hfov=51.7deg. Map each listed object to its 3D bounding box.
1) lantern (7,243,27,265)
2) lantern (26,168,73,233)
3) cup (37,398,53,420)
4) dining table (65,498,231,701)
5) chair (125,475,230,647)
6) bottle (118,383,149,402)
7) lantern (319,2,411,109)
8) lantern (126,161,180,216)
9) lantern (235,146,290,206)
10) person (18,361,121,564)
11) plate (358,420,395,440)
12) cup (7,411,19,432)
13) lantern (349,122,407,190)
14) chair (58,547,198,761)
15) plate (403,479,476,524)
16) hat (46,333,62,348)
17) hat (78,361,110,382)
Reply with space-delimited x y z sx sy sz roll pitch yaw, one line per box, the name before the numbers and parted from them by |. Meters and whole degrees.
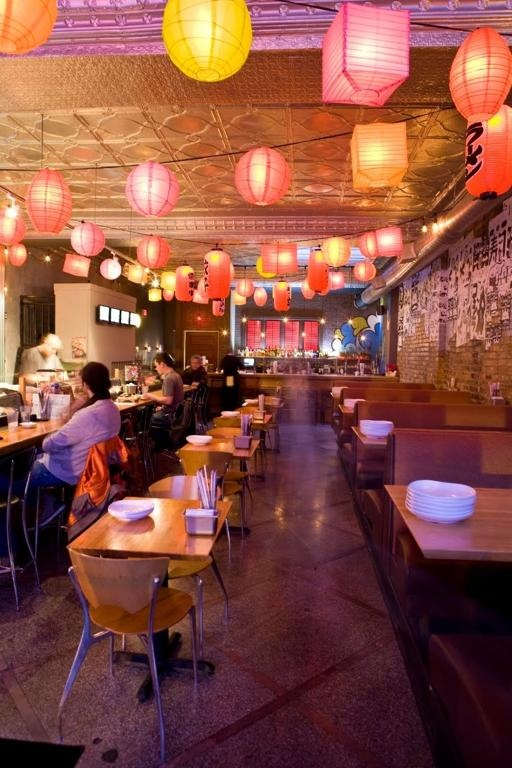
lantern | -3.352 -1.832 7.442 0.200 0.282 0.373 -1 3 -20
lantern | -1.734 -1.531 4.485 0.294 0.501 0.307 8 -4 -35
cup | -1.869 0.222 4.683 0.148 0.265 0.144 0 2 0
dining table | -0.388 0.909 2.309 0.710 0.813 0.767 1 6 9
chair | -0.304 0.906 2.745 0.543 1.068 0.696 -1 -2 7
bottle | -1.673 0.134 7.164 0.412 0.349 0.292 1 1 -7
lantern | 0.455 -1.350 2.354 0.374 0.437 0.407 3 5 7
lantern | -0.818 -1.506 4.187 0.375 0.470 0.404 0 9 3
lantern | 0.065 -1.615 4.029 0.364 0.461 0.374 -8 30 -27
person | -1.274 0.462 3.660 0.634 1.273 0.545 8 4 25
plate | 0.909 0.335 3.954 0.184 0.109 0.190 -1 0 6
cup | -1.883 0.286 4.085 0.057 0.141 0.155 -1 3 -28
lantern | 0.833 -1.516 3.697 0.357 0.419 0.375 0 -12 4
chair | -0.502 1.107 2.111 0.453 0.797 0.502 6 22 11
plate | 0.679 0.429 1.954 0.232 0.096 0.353 1 3 24
hat | -2.643 -0.560 6.909 0.154 0.191 0.276 -1 3 -16
hat | -1.084 -0.095 3.525 0.119 0.165 0.159 -3 10 -8
